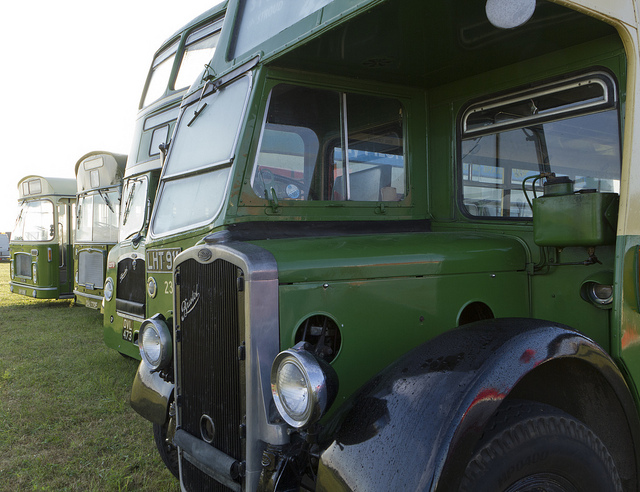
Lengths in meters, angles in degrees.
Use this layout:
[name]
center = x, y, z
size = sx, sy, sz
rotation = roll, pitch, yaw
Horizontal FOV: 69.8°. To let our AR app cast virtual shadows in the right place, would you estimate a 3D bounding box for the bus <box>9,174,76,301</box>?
[bus]
center = -8.451, -0.225, 13.956
size = 2.245, 3.721, 1.046
rotation = 1, 2, 37
